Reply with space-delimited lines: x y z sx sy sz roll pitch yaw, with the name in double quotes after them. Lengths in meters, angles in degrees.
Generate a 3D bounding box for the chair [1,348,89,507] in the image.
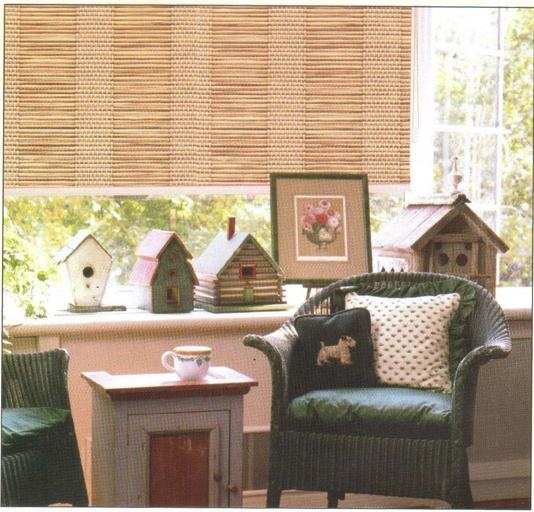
-0.729 0.564 3.190 0.270 0.507 0.231 -2 3 -13 "chair"

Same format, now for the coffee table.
-0.329 0.495 3.268 0.533 0.582 0.374 3 -9 -19 "coffee table"

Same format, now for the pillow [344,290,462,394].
0.471 0.304 3.358 0.267 0.290 0.097 0 -14 14 "pillow"

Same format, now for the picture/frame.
0.202 -0.103 3.900 0.375 0.499 0.031 -2 -1 -7 "picture/frame"

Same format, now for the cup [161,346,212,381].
-0.253 0.342 3.265 0.135 0.095 0.114 0 -2 11 "cup"

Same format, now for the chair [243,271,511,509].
0.382 0.512 3.453 0.862 1.039 0.729 -2 -12 17 "chair"
